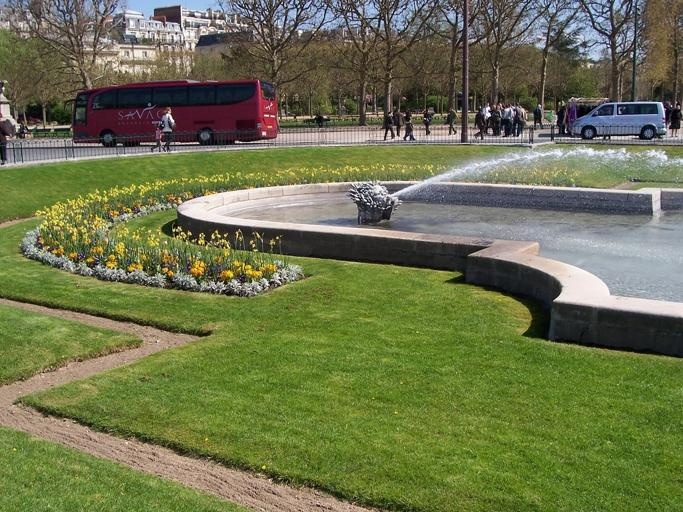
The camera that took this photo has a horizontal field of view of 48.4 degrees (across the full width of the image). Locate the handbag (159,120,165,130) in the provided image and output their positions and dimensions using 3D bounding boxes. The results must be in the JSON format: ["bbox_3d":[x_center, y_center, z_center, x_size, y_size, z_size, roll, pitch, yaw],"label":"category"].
[{"bbox_3d":[-8.195,-5.920,34.499,0.260,0.447,0.147,-2,7,18],"label":"handbag"}]

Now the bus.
[{"bbox_3d":[-8.827,-7.727,40.940,10.247,3.308,2.723,2,9,9],"label":"bus"}]
